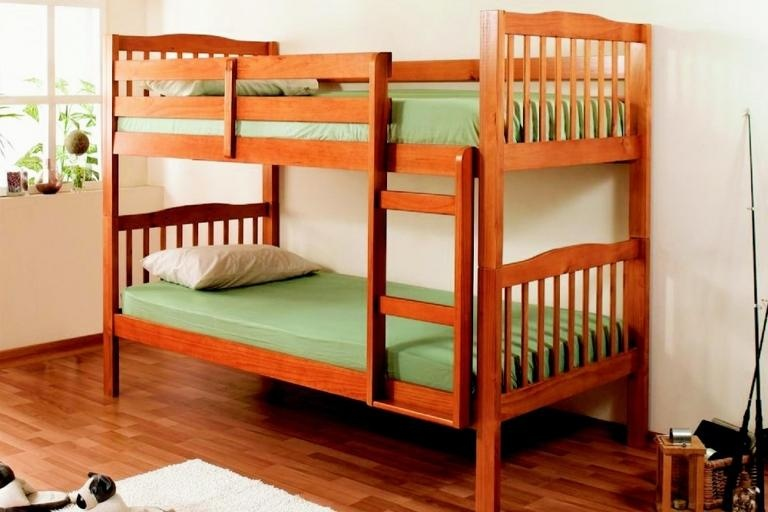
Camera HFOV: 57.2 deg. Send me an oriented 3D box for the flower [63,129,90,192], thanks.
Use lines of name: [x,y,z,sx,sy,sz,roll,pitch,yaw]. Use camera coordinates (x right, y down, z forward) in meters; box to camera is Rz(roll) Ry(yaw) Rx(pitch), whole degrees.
flower: [-2.171,-0.683,4.958,0.147,0.405,0.283,-4,14,-21]

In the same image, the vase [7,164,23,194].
vase: [-2.458,-0.498,4.662,0.124,0.136,0.054,2,2,-25]
